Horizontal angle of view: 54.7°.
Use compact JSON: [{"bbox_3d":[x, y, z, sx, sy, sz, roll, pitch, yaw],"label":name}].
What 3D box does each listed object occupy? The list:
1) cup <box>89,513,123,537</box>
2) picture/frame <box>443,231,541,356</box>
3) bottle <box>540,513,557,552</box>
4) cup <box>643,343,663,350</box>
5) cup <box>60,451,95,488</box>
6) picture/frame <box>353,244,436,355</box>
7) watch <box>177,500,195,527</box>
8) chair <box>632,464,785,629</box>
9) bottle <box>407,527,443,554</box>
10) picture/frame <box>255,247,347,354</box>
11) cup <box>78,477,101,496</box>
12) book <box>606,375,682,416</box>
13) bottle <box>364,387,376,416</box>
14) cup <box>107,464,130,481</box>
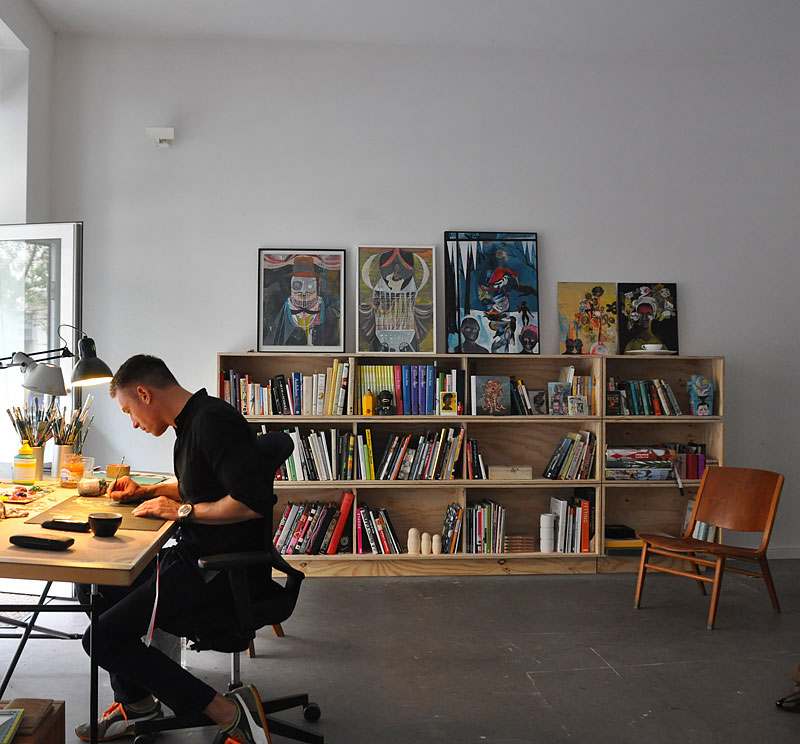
[{"bbox_3d":[-1.059,0.549,2.814,0.096,0.060,0.091,3,-8,0],"label":"cup"},{"bbox_3d":[0.634,-0.550,5.289,0.636,0.820,0.181,0,5,-5],"label":"picture/frame"},{"bbox_3d":[0.975,1.040,5.072,0.108,0.236,0.191,1,5,11],"label":"bottle"},{"bbox_3d":[1.738,-0.174,5.287,0.104,0.047,0.211,3,6,27],"label":"cup"},{"bbox_3d":[-1.602,0.472,3.791,0.180,0.189,0.178,1,-7,0],"label":"cup"},{"bbox_3d":[-0.041,-0.464,5.241,0.796,0.998,0.037,0,-5,-6],"label":"picture/frame"},{"bbox_3d":[-0.786,0.520,2.899,0.055,0.080,0.076,8,-32,5],"label":"watch"},{"bbox_3d":[1.773,0.940,4.402,0.645,0.799,0.545,2,0,-28],"label":"chair"},{"bbox_3d":[0.161,1.084,5.045,0.185,0.145,0.176,0,-9,0],"label":"bottle"},{"bbox_3d":[-0.671,-0.461,5.213,0.749,0.805,0.030,1,-3,-4],"label":"picture/frame"},{"bbox_3d":[-1.381,0.502,3.454,0.084,0.054,0.080,3,4,0],"label":"cup"},{"bbox_3d":[1.624,0.168,5.152,0.487,0.222,0.152,1,5,4],"label":"book"},{"bbox_3d":[-0.197,0.190,5.012,0.076,0.149,0.123,0,5,-3],"label":"bottle"},{"bbox_3d":[-1.347,0.468,3.716,0.104,0.062,0.097,1,7,0],"label":"cup"}]
